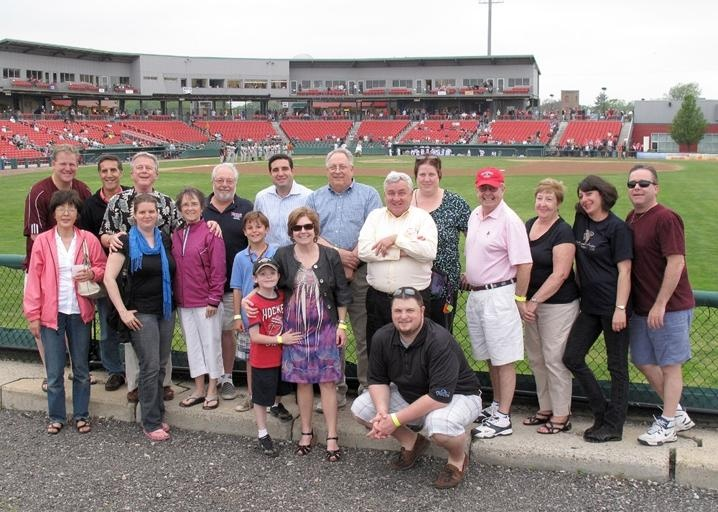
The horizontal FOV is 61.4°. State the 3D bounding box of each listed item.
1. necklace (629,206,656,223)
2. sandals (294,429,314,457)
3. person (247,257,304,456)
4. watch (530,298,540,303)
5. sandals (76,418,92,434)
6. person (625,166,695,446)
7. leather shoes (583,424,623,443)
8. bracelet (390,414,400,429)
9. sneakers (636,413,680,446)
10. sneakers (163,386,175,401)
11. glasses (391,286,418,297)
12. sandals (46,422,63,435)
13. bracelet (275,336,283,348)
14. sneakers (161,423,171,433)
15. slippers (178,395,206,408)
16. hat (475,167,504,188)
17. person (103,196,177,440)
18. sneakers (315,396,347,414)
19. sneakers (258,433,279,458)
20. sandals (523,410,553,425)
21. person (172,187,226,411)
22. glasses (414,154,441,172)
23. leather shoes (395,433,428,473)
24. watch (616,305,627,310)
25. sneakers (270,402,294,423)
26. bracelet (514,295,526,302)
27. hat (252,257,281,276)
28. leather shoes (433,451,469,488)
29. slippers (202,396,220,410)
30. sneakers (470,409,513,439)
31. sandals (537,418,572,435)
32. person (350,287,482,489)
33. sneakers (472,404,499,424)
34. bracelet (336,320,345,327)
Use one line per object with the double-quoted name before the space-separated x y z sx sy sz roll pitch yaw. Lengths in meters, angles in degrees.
"necklace" 2.429 -0.355 5.237 0.135 0.055 0.097 -30 40 -8
"sandals" -0.490 1.616 5.276 0.151 0.169 0.219 0 6 0
"person" -0.783 0.851 5.284 0.339 1.658 0.427 -6 9 -39
"watch" 1.521 0.392 5.222 0.054 0.050 0.036 9 -7 32
"sandals" -2.581 1.558 5.581 0.132 0.105 0.177 -3 7 -24
"person" 2.507 0.396 5.055 0.544 2.285 0.535 3 8 25
"leather shoes" 2.050 1.493 5.064 0.304 0.117 0.135 2 1 3
"bracelet" 0.282 1.311 4.825 0.093 0.121 0.041 1 7 7
"sneakers" 2.518 1.463 5.103 0.474 0.218 0.156 -3 -1 -25
"sneakers" -1.912 1.366 5.996 0.063 0.067 0.163 1 9 -14
"glasses" 0.368 0.294 4.829 0.155 0.064 0.135 3 7 26
"sandals" -2.801 1.567 5.529 0.141 0.095 0.113 -4 7 -32
"bracelet" -0.706 0.735 5.223 0.055 0.069 0.061 -3 12 -20
"sneakers" -1.797 1.577 5.570 0.045 0.050 0.122 2 13 -9
"slippers" -1.635 1.388 5.823 0.111 0.054 0.200 -1 -2 36
"hat" 1.170 -0.702 5.390 0.202 0.128 0.264 -1 3 18
"person" -1.966 0.543 5.496 0.620 2.179 0.531 -3 8 -25
"sneakers" -0.290 1.414 5.728 0.125 0.142 0.327 -2 -12 12
"sneakers" -0.808 1.623 5.258 0.169 0.156 0.243 -1 6 -10
"sandals" 1.603 1.455 5.457 0.292 0.078 0.101 -1 0 -9
"person" -1.558 0.395 5.792 0.504 2.065 0.506 -1 7 -6
"glasses" 0.655 -0.876 5.687 0.208 0.194 0.060 -1 7 4
"leather shoes" 0.441 1.632 5.081 0.374 0.160 0.163 -50 18 -24
"watch" 2.194 0.428 5.021 0.044 0.023 0.048 8 -23 -1
"sneakers" -0.734 1.447 5.589 0.251 0.100 0.125 1 5 42
"bracelet" 1.418 0.369 5.289 0.090 0.059 0.057 0 7 1
"hat" -0.842 0.095 5.301 0.213 0.136 0.323 -3 -4 -18
"leather shoes" 0.767 1.723 4.868 0.175 0.119 0.454 11 17 28
"slippers" -1.434 1.391 5.792 0.151 0.084 0.243 -1 6 -13
"sneakers" 1.160 1.450 5.198 0.441 0.193 0.159 -2 -5 -16
"sandals" 1.717 1.485 5.290 0.311 0.090 0.124 0 -4 -21
"person" 0.524 1.078 5.137 1.167 1.497 1.190 -3 0 -43
"sneakers" 1.138 1.423 5.455 0.329 0.127 0.117 -1 0 -28
"bracelet" -0.173 0.606 5.361 0.068 0.040 0.060 9 -1 -28
